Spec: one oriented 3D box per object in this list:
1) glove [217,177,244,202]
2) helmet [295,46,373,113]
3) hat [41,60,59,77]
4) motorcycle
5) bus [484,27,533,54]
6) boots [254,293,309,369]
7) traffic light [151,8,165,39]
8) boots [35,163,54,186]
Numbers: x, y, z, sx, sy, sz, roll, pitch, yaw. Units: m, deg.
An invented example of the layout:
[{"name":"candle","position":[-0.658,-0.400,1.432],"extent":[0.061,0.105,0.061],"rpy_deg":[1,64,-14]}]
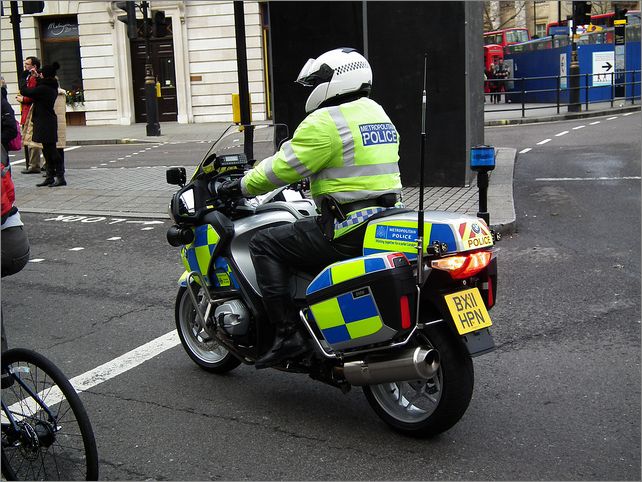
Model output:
[{"name":"glove","position":[-0.652,-0.374,4.592],"extent":[0.123,0.099,0.219],"rpy_deg":[-4,4,-17]},{"name":"helmet","position":[0.095,-1.076,4.302],"extent":[0.481,0.403,0.375],"rpy_deg":[-5,-1,12]},{"name":"hat","position":[-5.696,-3.591,13.306],"extent":[0.310,0.308,0.973],"rpy_deg":[-9,17,-24]},{"name":"motorcycle","position":[-0.220,0.159,4.767],"extent":[2.974,2.104,1.128],"rpy_deg":[6,16,40]},{"name":"bus","position":[12.816,-14.192,43.819],"extent":[2.755,1.009,2.235],"rpy_deg":[1,16,13]},{"name":"boots","position":[-0.323,0.658,4.410],"extent":[0.399,0.479,0.207],"rpy_deg":[-18,-28,3]},{"name":"traffic light","position":[-5.745,-7.751,22.427],"extent":[0.459,0.888,1.111],"rpy_deg":[-6,15,-14]},{"name":"boots","position":[-5.726,-1.386,13.204],"extent":[0.394,0.449,0.263],"rpy_deg":[2,15,13]}]
